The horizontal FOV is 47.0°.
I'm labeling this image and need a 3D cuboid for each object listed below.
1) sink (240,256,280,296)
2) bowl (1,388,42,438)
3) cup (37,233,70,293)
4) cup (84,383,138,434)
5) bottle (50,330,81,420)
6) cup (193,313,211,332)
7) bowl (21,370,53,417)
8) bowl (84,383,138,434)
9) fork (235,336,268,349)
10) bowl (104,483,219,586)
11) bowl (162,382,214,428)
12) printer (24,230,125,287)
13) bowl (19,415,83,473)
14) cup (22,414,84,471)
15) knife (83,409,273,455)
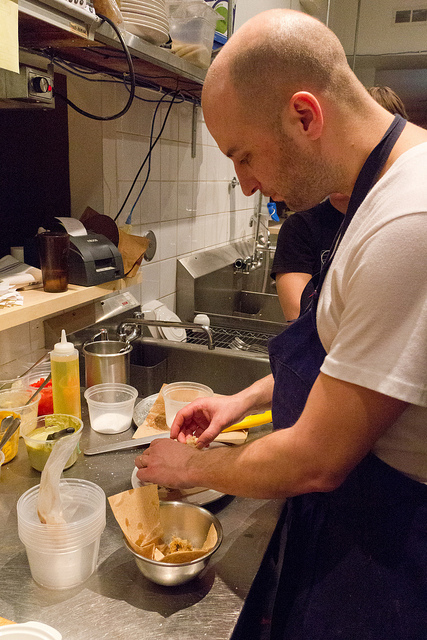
[{"bbox_3d":[0.330,-0.264,3.398,0.331,0.206,0.321,1,7,11],"label":"sink"},{"bbox_3d":[-0.465,0.213,1.205,0.106,0.087,0.115,2,14,-1],"label":"bowl"},{"bbox_3d":[-0.409,-0.146,1.268,0.071,0.151,0.053,-2,13,-20],"label":"cup"},{"bbox_3d":[-0.282,0.240,1.334,0.127,0.082,0.129,1,11,0],"label":"cup"},{"bbox_3d":[-0.359,0.138,1.205,0.070,0.232,0.068,2,12,0],"label":"bottle"},{"bbox_3d":[-0.058,0.017,2.388,0.077,0.084,0.076,-2,8,0],"label":"cup"},{"bbox_3d":[-0.462,0.199,1.356,0.098,0.081,0.105,0,14,0],"label":"bowl"},{"bbox_3d":[-0.276,0.234,1.359,0.126,0.084,0.129,1,14,0],"label":"bowl"},{"bbox_3d":[0.176,0.111,2.312,0.191,0.029,0.023,11,44,-10],"label":"fork"},{"bbox_3d":[-0.094,0.362,0.832,0.166,0.117,0.146,5,12,29],"label":"bowl"},{"bbox_3d":[-0.093,0.231,1.376,0.127,0.096,0.140,13,16,39],"label":"bowl"},{"bbox_3d":[-0.408,-0.186,1.463,0.254,0.129,0.253,12,18,41],"label":"printer"},{"bbox_3d":[-0.373,0.256,1.134,0.137,0.095,0.139,0,9,0],"label":"bowl"},{"bbox_3d":[-0.359,0.276,1.110,0.128,0.082,0.130,4,15,-1],"label":"cup"},{"bbox_3d":[-0.086,0.263,1.144,0.386,0.039,0.055,-15,-8,-5],"label":"knife"}]
